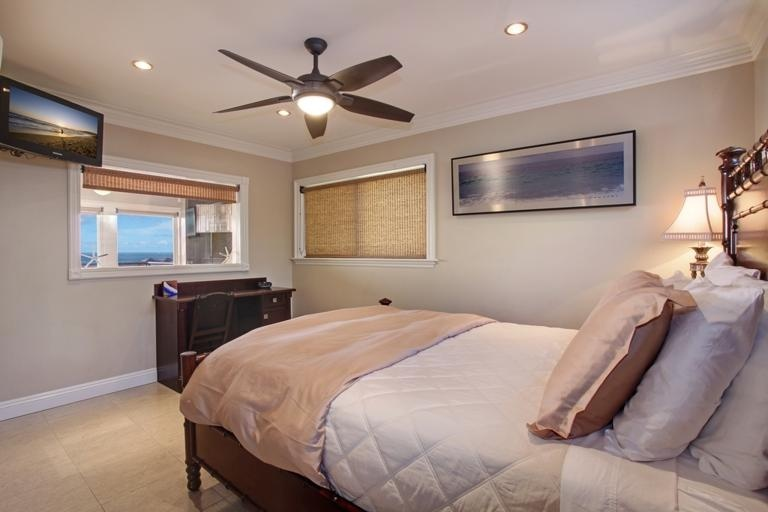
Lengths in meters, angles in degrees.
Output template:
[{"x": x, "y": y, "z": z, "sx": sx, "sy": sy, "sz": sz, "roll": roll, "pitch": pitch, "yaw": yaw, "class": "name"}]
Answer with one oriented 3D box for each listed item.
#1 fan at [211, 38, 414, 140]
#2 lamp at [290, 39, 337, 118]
[{"x": -0.410, "y": -1.304, "z": 4.032, "sx": 0.973, "sy": 0.336, "sz": 0.972, "roll": -13, "pitch": -18, "yaw": 35, "class": "fan"}, {"x": -0.591, "y": -1.507, "z": 4.085, "sx": 0.349, "sy": 0.630, "sz": 0.534, "roll": -1, "pitch": 3, "yaw": -8, "class": "lamp"}]
